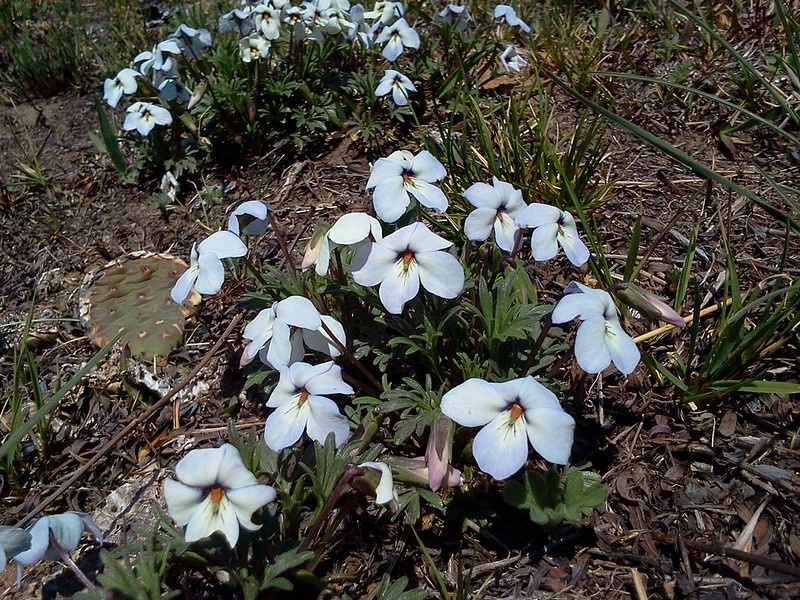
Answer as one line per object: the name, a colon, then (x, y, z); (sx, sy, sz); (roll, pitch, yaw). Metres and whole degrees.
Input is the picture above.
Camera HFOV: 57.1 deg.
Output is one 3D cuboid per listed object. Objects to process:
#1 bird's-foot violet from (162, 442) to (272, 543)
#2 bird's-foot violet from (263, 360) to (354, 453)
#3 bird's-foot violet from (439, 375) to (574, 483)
bird's-foot violet: (-0.739, 0.844, 3.105); (0.447, 0.381, 0.278); (-8, 41, 8)
bird's-foot violet: (-0.424, 0.473, 3.302); (0.371, 0.135, 0.418); (-6, 74, 19)
bird's-foot violet: (0.461, 0.540, 3.134); (0.523, 0.289, 0.370); (-15, 42, 0)
